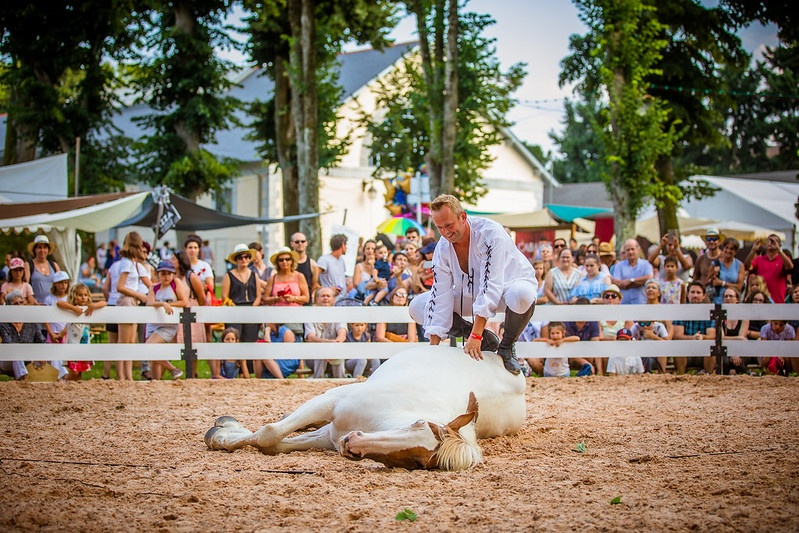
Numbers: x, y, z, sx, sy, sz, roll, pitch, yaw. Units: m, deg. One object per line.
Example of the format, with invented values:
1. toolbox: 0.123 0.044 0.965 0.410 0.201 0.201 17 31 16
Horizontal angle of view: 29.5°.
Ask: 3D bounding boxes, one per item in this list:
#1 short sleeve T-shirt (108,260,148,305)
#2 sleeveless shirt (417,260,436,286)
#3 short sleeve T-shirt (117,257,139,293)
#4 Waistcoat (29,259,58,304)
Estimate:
1. short sleeve T-shirt: -6.657 0.426 37.781 0.954 1.020 0.577 -2 -4 32
2. sleeveless shirt: 0.756 0.206 38.732 0.420 0.622 0.211 -4 1 -30
3. short sleeve T-shirt: -6.685 0.233 37.722 0.769 0.841 0.428 -2 0 -3
4. Waistcoat: -8.971 0.411 38.755 0.639 1.188 0.585 1 -12 -29
